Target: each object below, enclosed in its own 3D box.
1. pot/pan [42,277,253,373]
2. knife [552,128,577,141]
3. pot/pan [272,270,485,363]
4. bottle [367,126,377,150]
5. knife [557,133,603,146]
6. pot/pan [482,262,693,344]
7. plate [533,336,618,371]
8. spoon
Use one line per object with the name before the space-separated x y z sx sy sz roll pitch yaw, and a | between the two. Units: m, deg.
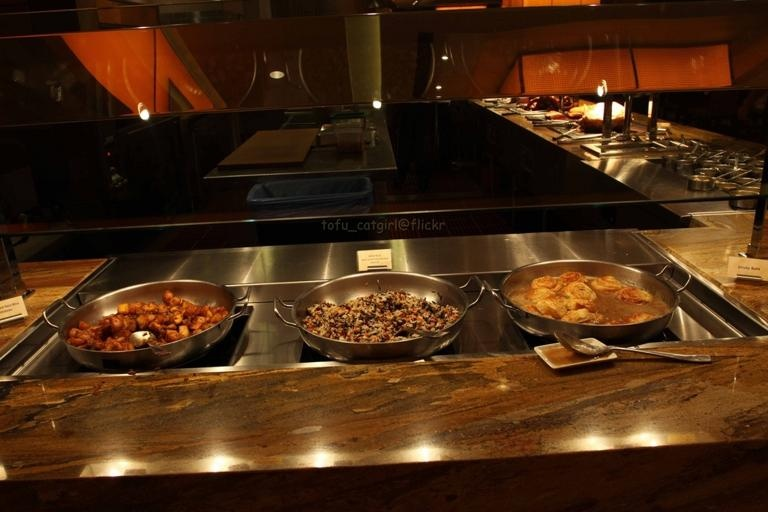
pot/pan | -0.675 0.185 1.530 0.541 0.087 0.345 9 27 12
knife | 0.482 -0.319 1.420 0.066 0.016 0.033 -14 19 -3
pot/pan | -0.003 0.170 1.574 0.500 0.149 0.417 7 20 24
bottle | -0.032 -0.308 1.398 0.024 0.054 0.009 -3 24 1
knife | 0.527 -0.311 1.424 0.094 0.015 0.046 -2 6 0
pot/pan | 0.606 0.131 1.589 0.513 0.128 0.418 2 18 10
plate | 0.495 0.251 1.382 0.127 0.012 0.105 -7 21 -13
spoon | 0.642 0.241 1.409 0.344 0.035 0.055 6 19 10
